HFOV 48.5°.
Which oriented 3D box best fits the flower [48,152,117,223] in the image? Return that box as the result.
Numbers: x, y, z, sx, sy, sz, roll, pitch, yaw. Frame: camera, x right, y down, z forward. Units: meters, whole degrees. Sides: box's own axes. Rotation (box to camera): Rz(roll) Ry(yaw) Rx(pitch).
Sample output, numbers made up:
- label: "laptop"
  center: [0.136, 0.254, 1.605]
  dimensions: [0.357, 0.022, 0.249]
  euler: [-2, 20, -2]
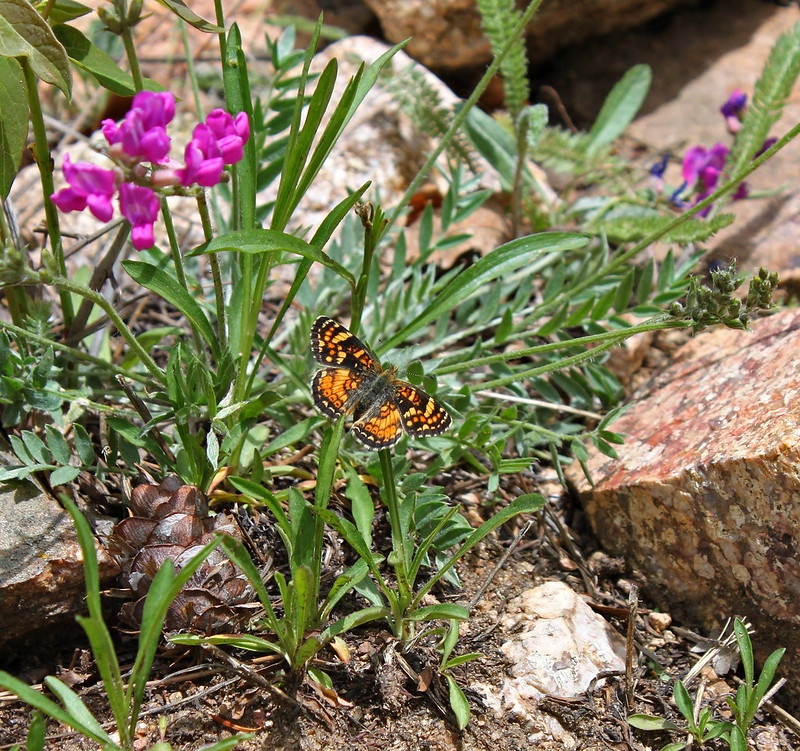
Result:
- label: "flower"
  center: [-0.712, -0.434, 2.006]
  dimensions: [0.163, 0.064, 0.146]
  euler: [-19, 34, -10]

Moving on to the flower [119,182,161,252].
- label: "flower"
  center: [-0.617, -0.358, 2.061]
  dimensions: [0.090, 0.159, 0.140]
  euler: [8, 51, -19]

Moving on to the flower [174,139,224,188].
- label: "flower"
  center: [-0.454, -0.493, 2.084]
  dimensions: [0.114, 0.104, 0.053]
  euler: [13, 33, 39]

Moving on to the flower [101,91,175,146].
- label: "flower"
  center: [-0.590, -0.615, 2.035]
  dimensions: [0.167, 0.054, 0.156]
  euler: [-3, 24, -22]
